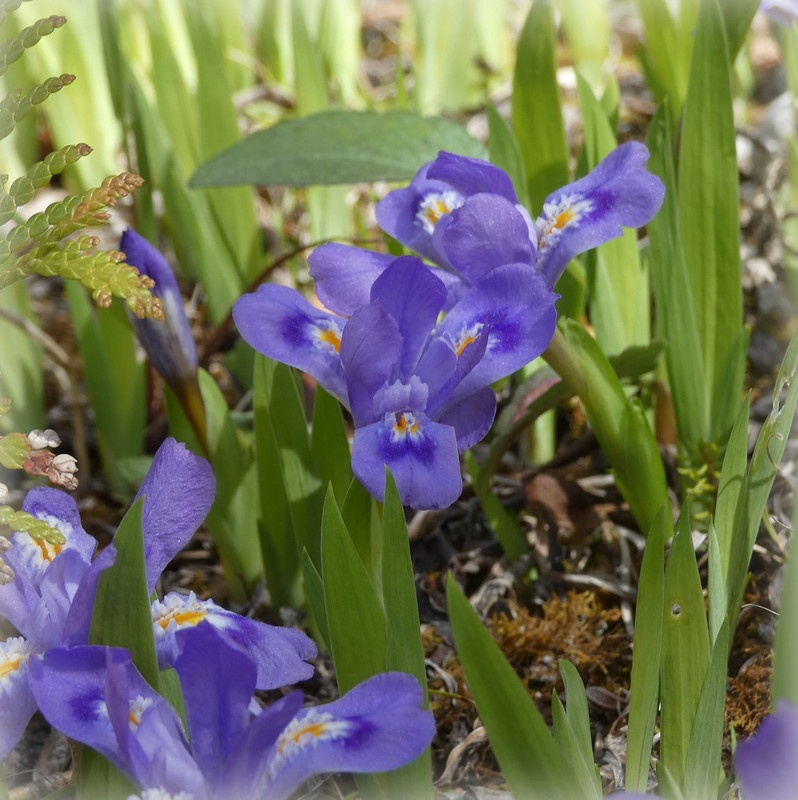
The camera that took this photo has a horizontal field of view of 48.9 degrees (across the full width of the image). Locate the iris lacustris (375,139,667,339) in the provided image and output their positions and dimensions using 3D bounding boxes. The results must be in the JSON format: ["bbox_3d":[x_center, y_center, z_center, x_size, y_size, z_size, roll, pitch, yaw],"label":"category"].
[{"bbox_3d":[0.051,-0.152,0.789,0.206,0.132,0.235,9,1,-28],"label":"iris lacustris"}]

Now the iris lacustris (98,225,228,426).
[{"bbox_3d":[-0.297,-0.084,1.103,0.049,0.329,0.069,-4,23,17],"label":"iris lacustris"}]
